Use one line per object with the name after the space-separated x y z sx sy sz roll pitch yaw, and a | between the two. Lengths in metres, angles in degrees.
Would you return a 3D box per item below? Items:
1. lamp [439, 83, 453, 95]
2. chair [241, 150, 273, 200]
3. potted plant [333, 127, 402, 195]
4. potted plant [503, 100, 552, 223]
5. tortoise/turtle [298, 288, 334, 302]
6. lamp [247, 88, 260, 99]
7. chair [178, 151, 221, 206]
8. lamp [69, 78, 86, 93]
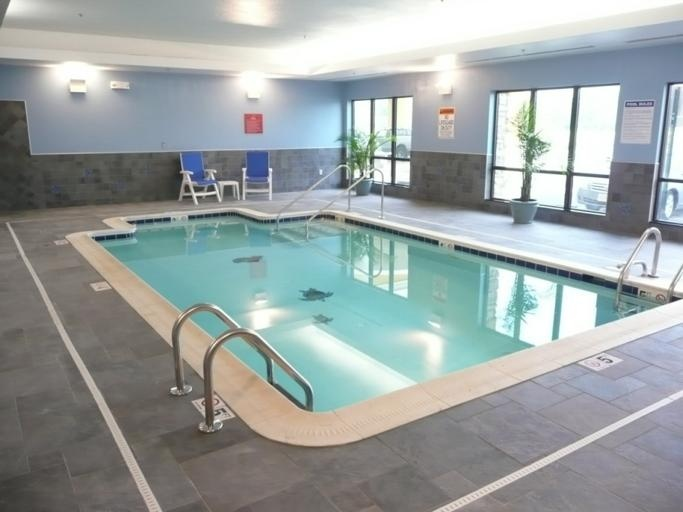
2.529 -4.069 10.667 0.136 0.251 0.370 -14 21 -42 | lamp
-2.310 -2.241 12.101 0.887 1.152 0.953 1 20 -4 | chair
0.707 -2.752 12.744 1.448 1.802 1.944 0 16 -1 | potted plant
3.680 -1.834 8.677 0.673 2.324 0.639 -1 16 -7 | potted plant
-0.342 0.518 5.860 0.280 0.096 0.174 12 4 1 | tortoise/turtle
-2.450 -4.542 12.225 0.309 0.273 0.072 -3 11 -28 | lamp
-3.682 -2.040 11.393 0.900 1.139 0.859 19 23 32 | chair
-6.184 -4.005 10.252 0.356 0.291 0.125 -5 7 -39 | lamp
